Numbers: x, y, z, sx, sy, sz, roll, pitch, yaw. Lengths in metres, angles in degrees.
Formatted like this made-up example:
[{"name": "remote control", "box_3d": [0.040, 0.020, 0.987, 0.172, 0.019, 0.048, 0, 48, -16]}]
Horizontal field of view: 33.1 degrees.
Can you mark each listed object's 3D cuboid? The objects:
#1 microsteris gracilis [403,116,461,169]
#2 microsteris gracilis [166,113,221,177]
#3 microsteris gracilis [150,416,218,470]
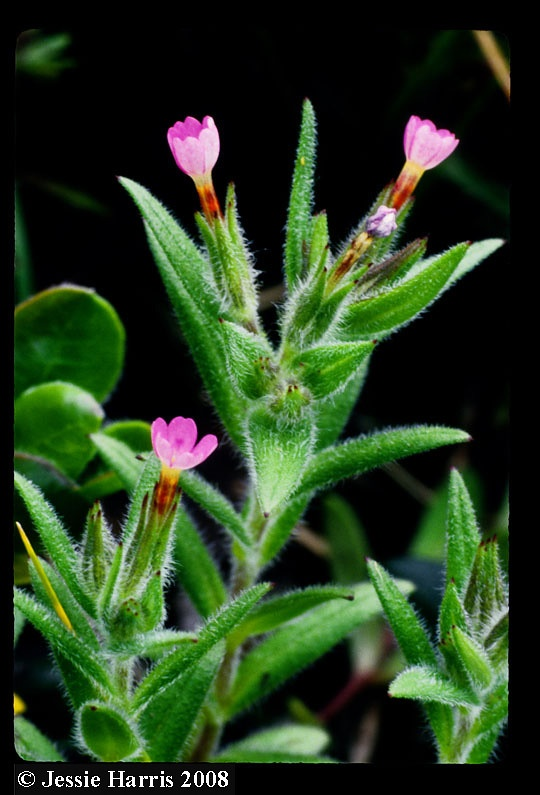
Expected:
[{"name": "microsteris gracilis", "box_3d": [0.174, -0.291, 1.033, 0.047, 0.048, 0.059, 38, 41, 24]}, {"name": "microsteris gracilis", "box_3d": [-0.087, -0.295, 1.030, 0.053, 0.071, 0.089, 8, 38, -15]}, {"name": "microsteris gracilis", "box_3d": [-0.093, 0.045, 0.965, 0.071, 0.040, 0.061, 22, 14, 38]}]
